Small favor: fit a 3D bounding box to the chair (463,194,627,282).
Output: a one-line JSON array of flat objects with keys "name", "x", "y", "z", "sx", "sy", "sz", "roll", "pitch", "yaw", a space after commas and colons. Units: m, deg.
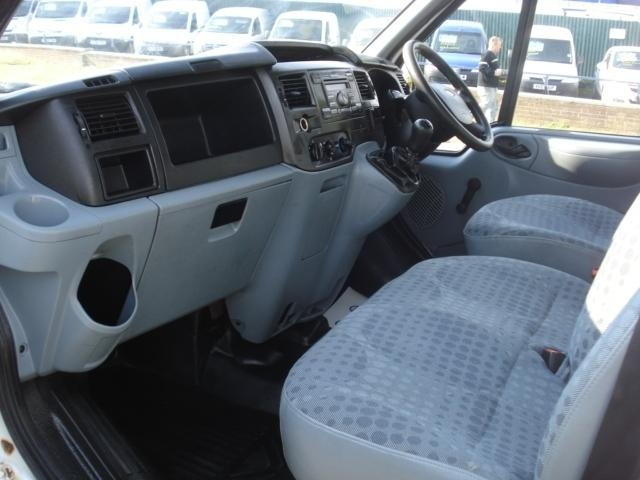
[{"name": "chair", "x": 0.834, "y": -0.040, "z": 1.867, "sx": 0.432, "sy": 0.174, "sz": 0.358, "roll": 4, "pitch": 32, "yaw": 21}]
